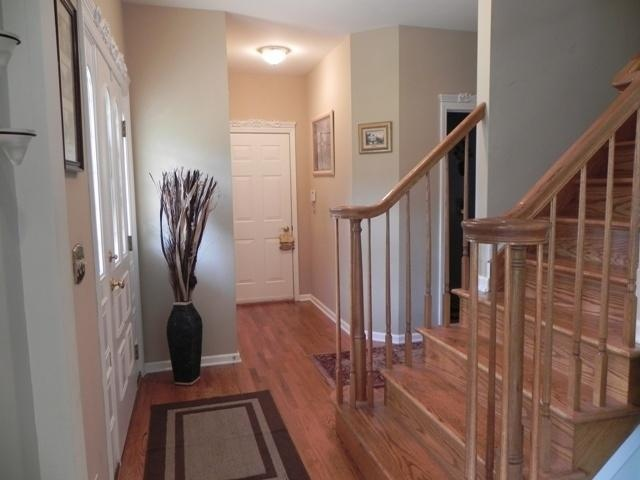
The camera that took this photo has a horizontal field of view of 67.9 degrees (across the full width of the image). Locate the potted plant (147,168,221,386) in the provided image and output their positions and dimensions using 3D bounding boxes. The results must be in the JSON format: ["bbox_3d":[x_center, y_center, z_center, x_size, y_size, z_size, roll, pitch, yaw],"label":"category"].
[{"bbox_3d":[-1.049,0.274,3.917,0.487,1.704,0.526,-4,9,-19],"label":"potted plant"}]

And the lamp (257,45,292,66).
[{"bbox_3d":[-0.484,-1.956,5.082,0.355,0.149,0.386,-2,9,-7],"label":"lamp"}]

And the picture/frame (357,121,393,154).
[{"bbox_3d":[0.552,-0.996,4.604,0.304,0.293,0.024,2,3,33],"label":"picture/frame"}]
